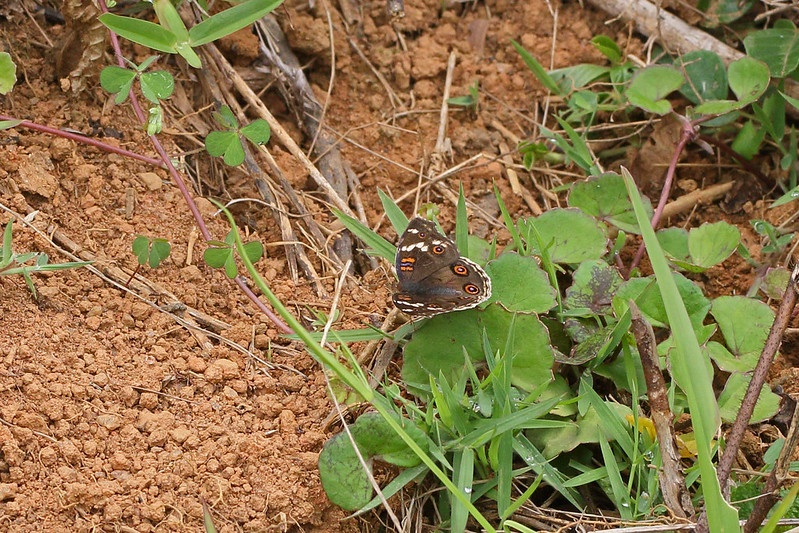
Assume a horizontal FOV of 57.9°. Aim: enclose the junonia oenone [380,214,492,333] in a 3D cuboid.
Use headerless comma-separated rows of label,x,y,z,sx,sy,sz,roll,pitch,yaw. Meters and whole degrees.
junonia oenone,0.158,0.041,2.568,0.341,0.254,0.356,2,60,3
